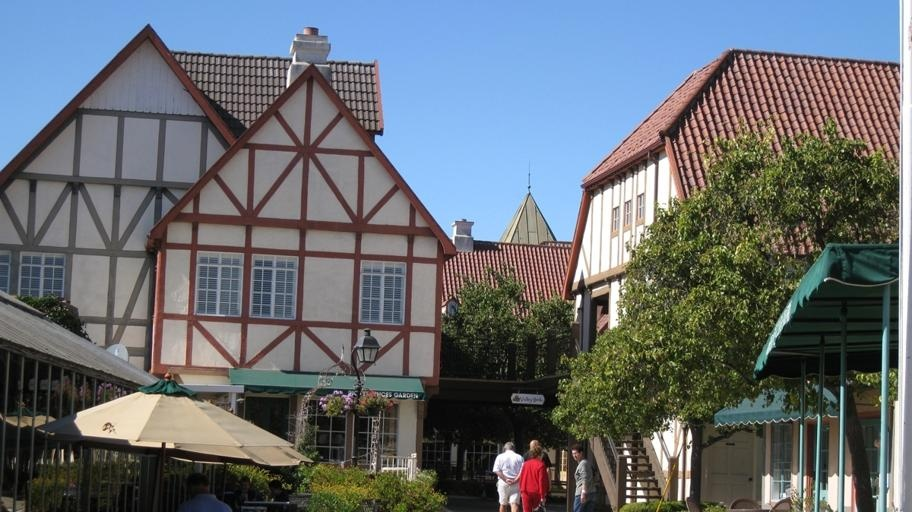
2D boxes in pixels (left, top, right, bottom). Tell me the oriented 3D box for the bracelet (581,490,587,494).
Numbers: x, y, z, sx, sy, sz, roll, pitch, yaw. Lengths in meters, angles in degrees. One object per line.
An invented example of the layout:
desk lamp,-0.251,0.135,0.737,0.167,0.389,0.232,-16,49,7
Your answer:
bracelet,3.685,6.791,41.788,0.088,0.105,0.090,-7,-10,42
